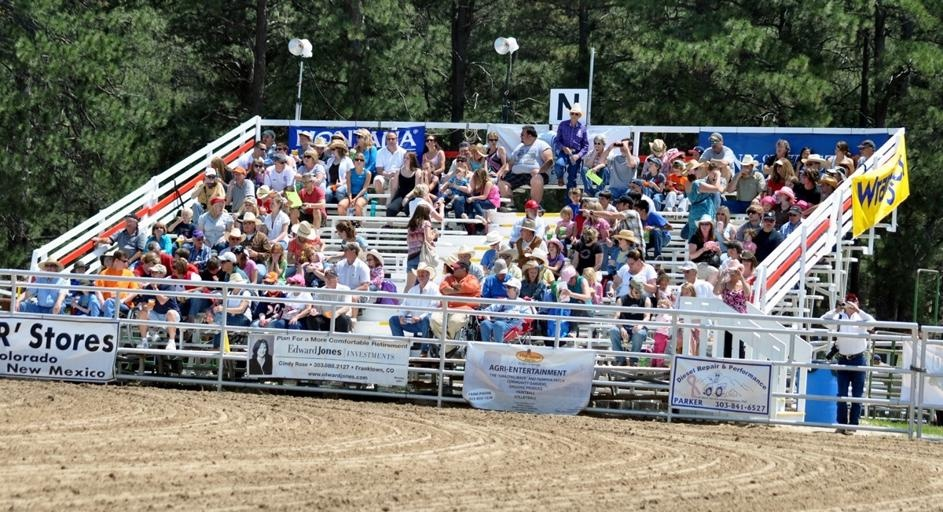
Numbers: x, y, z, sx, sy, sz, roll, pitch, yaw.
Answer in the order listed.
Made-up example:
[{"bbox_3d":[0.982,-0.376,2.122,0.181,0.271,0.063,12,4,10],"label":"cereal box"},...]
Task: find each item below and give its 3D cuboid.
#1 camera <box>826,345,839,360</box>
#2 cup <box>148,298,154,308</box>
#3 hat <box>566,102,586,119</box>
[{"bbox_3d":[10.901,2.953,67.135,0.205,0.277,0.626,6,22,33],"label":"camera"},{"bbox_3d":[-9.221,1.293,63.233,0.137,0.197,0.199,-1,0,0],"label":"cup"},{"bbox_3d":[3.227,-4.649,68.807,0.367,0.188,0.477,9,-27,9],"label":"hat"}]
